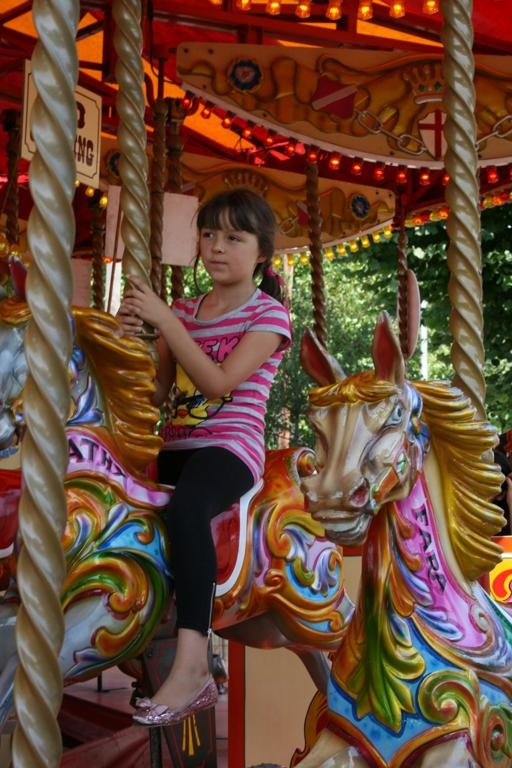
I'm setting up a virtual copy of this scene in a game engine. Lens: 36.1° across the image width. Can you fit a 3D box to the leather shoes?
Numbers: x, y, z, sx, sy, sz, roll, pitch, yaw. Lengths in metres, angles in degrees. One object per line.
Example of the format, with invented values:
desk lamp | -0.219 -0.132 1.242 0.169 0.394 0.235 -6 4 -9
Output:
leather shoes | -0.171 0.689 1.709 0.083 0.090 0.233 -7 -10 41
